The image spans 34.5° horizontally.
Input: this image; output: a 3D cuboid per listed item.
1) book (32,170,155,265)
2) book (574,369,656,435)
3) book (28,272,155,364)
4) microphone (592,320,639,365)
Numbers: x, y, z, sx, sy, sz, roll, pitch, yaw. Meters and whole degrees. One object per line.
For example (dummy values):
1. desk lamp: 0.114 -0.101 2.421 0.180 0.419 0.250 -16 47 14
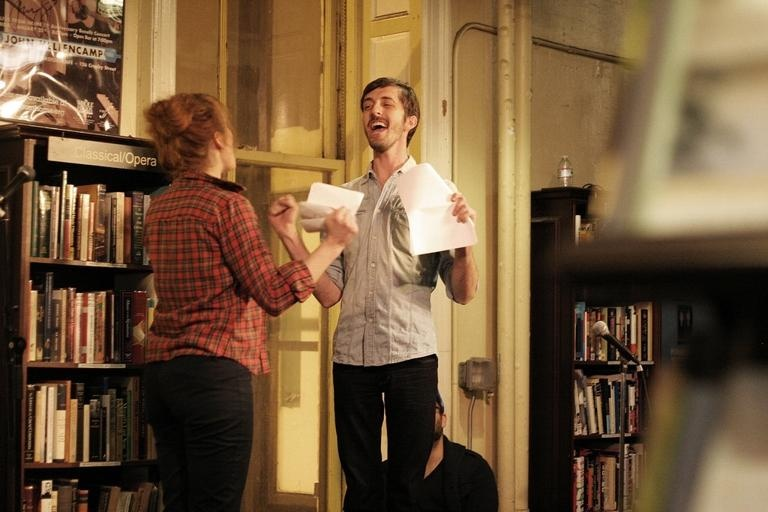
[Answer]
1. book: -1.452 -0.158 6.197 0.595 0.432 0.367 -1 -6 6
2. book: 1.385 0.833 7.436 0.484 0.467 0.199 -2 14 -13
3. book: -1.447 0.336 6.067 0.578 0.376 0.285 2 1 -5
4. microphone: 1.182 0.457 6.524 0.095 0.120 0.365 26 5 39
